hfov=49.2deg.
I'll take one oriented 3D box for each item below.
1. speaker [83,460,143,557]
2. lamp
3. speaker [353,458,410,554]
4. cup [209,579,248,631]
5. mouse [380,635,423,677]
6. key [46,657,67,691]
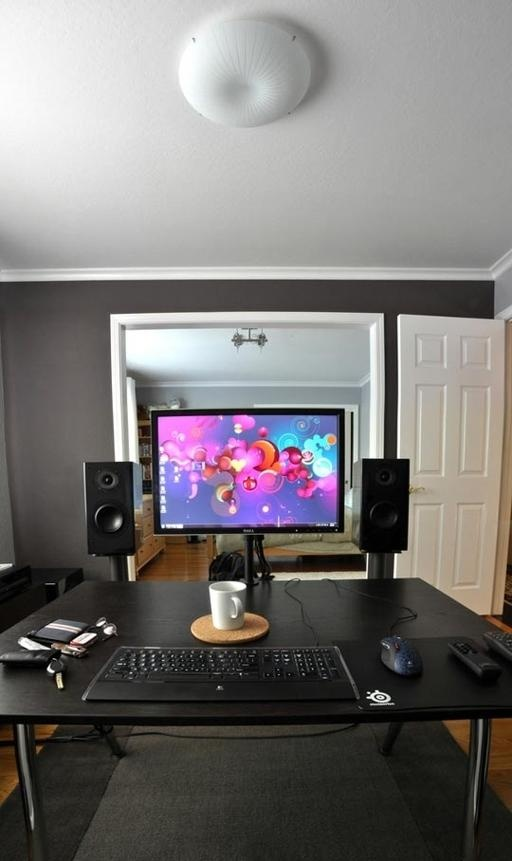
[{"bbox_3d":[-0.427,0.234,1.678,0.139,0.284,0.110,0,2,-2],"label":"speaker"},{"bbox_3d":[-0.036,-1.112,1.759,0.382,0.105,0.442,-4,-7,1],"label":"lamp"},{"bbox_3d":[0.361,0.219,1.619,0.145,0.276,0.085,1,2,13],"label":"speaker"},{"bbox_3d":[-0.064,0.387,1.246,0.068,0.077,0.096,0,9,-2],"label":"cup"},{"bbox_3d":[0.284,0.451,1.108,0.051,0.054,0.087,-1,2,-38],"label":"mouse"},{"bbox_3d":[-0.389,0.476,1.094,0.026,0.013,0.058,1,35,-18],"label":"key"}]
